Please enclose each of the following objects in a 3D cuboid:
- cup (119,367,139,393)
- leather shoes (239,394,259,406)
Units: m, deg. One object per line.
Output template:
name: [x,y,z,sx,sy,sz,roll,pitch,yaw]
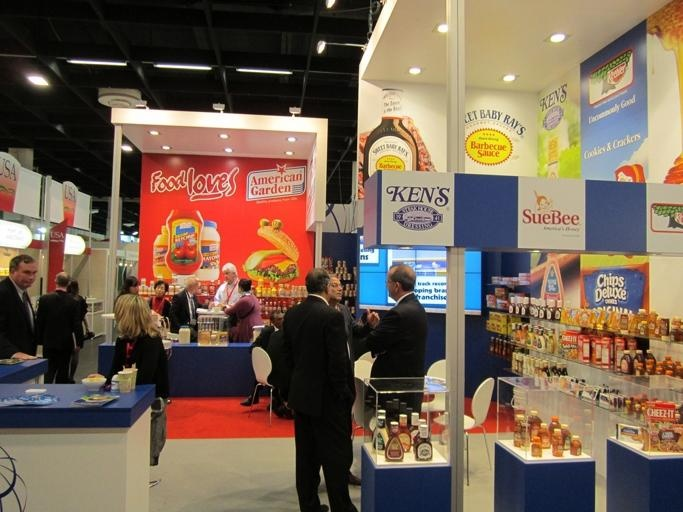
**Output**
cup: [-1.748,1.016,4.542,0.131,0.169,0.216,2,-7,-5]
leather shoes: [-1.310,2.029,7.766,0.368,0.177,0.137,-3,-8,23]
